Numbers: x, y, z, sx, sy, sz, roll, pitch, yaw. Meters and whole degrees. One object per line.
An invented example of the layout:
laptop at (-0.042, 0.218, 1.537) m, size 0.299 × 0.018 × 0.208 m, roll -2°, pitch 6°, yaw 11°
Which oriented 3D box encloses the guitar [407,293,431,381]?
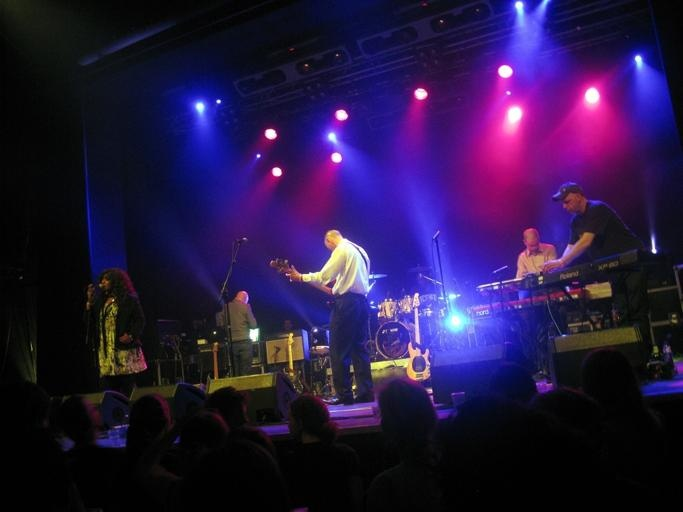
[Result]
guitar at (1.317, 1.444, 10.091) m, size 0.351 × 1.552 × 0.728 m, roll -2°, pitch -10°, yaw -2°

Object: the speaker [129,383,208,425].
speaker at (-1.548, 1.321, 4.952) m, size 0.508 × 0.331 × 0.486 m, roll -14°, pitch -22°, yaw 25°

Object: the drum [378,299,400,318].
drum at (0.899, 1.044, 10.685) m, size 0.311 × 0.311 × 0.326 m, roll 2°, pitch -20°, yaw -1°
